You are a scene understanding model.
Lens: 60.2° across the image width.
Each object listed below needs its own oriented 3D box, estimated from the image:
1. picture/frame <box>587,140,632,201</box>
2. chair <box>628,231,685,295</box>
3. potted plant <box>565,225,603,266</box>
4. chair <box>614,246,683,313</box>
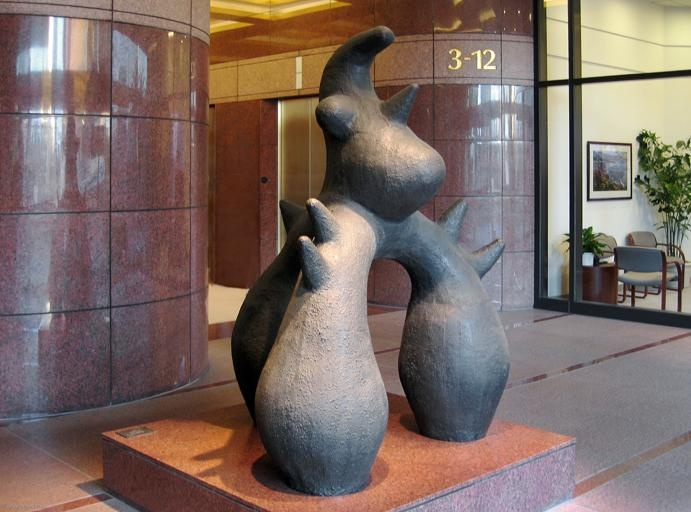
[{"bbox_3d":[3.354,-1.076,7.487,0.060,0.982,0.706,-1,2,-33],"label":"picture/frame"},{"bbox_3d":[3.785,-0.073,7.246,0.353,0.531,0.413,-1,0,-21],"label":"chair"},{"bbox_3d":[3.157,-0.138,7.817,0.420,0.387,0.439,-3,-1,29],"label":"potted plant"},{"bbox_3d":[3.722,0.124,7.295,0.611,1.077,0.743,-12,14,-36],"label":"chair"}]
